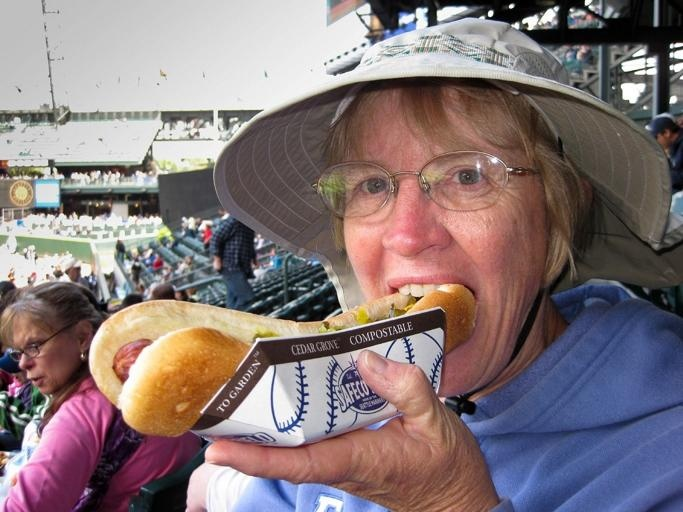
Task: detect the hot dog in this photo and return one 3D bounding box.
[{"bbox_3d":[-0.184,0.127,2.071,1.095,0.389,0.607,-11,-3,-15],"label":"hot dog"}]
